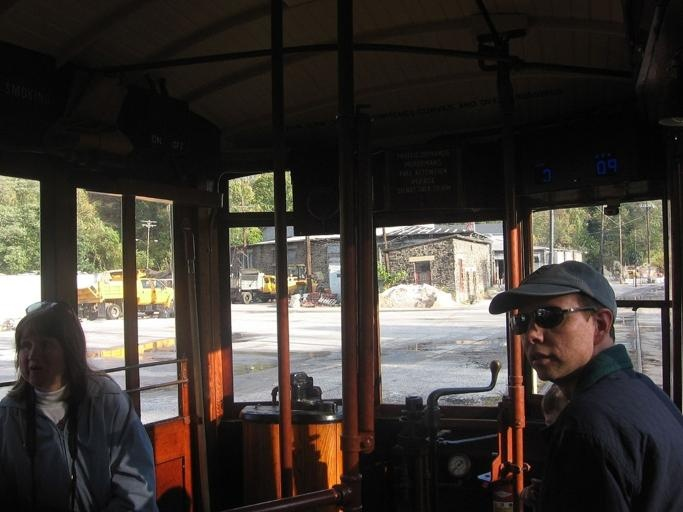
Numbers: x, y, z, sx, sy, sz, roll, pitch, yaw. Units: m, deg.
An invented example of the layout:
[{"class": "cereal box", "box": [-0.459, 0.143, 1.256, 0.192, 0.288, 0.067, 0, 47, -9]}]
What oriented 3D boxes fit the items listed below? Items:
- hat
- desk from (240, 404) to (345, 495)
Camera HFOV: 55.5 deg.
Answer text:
[{"class": "hat", "box": [0.789, 0.112, 2.367, 0.415, 0.227, 0.328, 18, -18, -21]}, {"class": "desk", "box": [-0.401, 1.543, 5.050, 0.854, 0.768, 0.321, -3, -4, 28]}]
